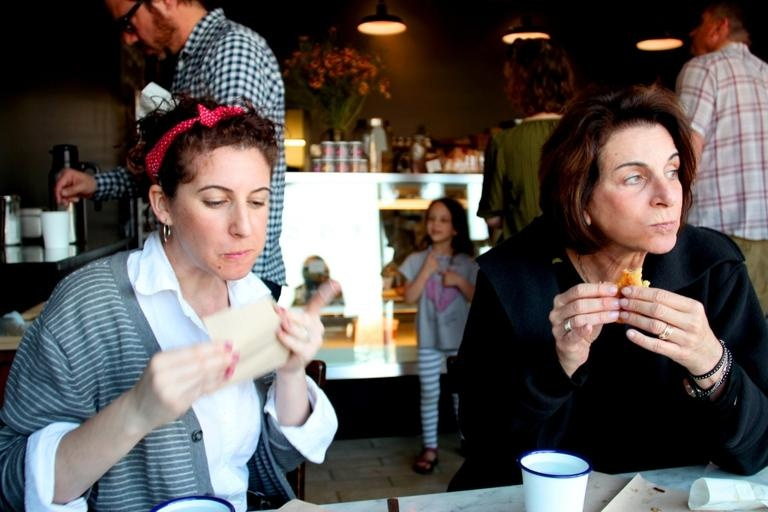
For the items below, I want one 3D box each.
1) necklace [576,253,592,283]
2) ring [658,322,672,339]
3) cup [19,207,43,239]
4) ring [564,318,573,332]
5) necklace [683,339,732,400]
[{"bbox_3d":[0.668,0.041,2.002,0.055,0.089,0.021,-10,12,8],"label":"necklace"},{"bbox_3d":[0.763,0.203,1.640,0.011,0.033,0.037,31,28,25],"label":"ring"},{"bbox_3d":[-2.167,-0.196,3.706,0.130,0.138,0.210,0,0,-15],"label":"cup"},{"bbox_3d":[0.518,0.196,1.692,0.012,0.029,0.023,7,6,-1],"label":"ring"},{"bbox_3d":[0.922,0.326,1.722,0.065,0.159,0.147,9,-13,-40],"label":"necklace"}]
